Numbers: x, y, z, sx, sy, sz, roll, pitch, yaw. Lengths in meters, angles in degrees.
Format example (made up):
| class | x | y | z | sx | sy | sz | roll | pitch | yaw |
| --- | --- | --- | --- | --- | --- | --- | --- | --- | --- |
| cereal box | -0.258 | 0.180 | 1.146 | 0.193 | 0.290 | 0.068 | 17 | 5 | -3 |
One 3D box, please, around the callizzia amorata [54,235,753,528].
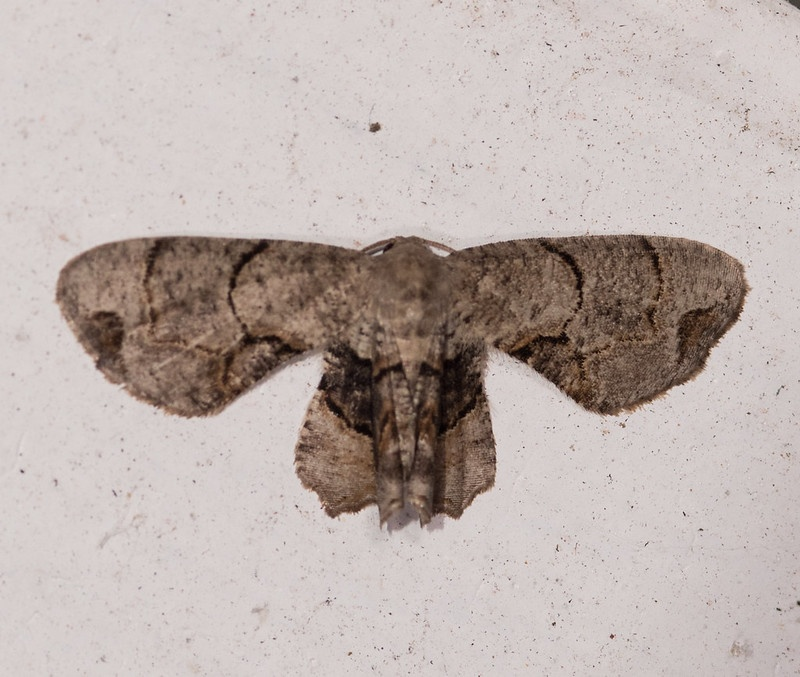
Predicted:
| class | x | y | z | sx | sy | sz | roll | pitch | yaw |
| --- | --- | --- | --- | --- | --- | --- | --- | --- | --- |
| callizzia amorata | -0.133 | 0.266 | 8.076 | 2.986 | 0.257 | 1.605 | 3 | 86 | -2 |
